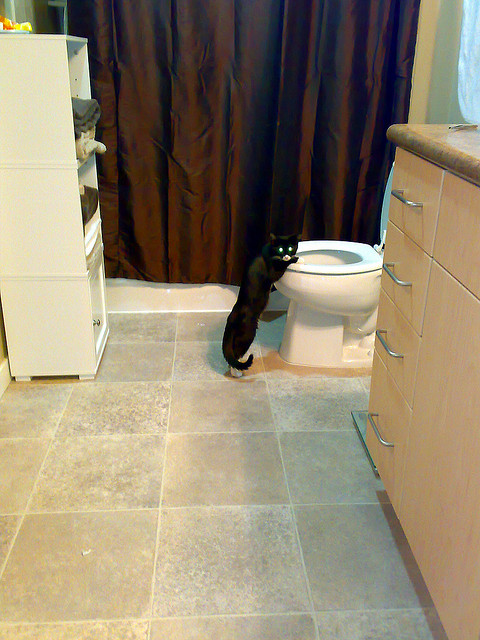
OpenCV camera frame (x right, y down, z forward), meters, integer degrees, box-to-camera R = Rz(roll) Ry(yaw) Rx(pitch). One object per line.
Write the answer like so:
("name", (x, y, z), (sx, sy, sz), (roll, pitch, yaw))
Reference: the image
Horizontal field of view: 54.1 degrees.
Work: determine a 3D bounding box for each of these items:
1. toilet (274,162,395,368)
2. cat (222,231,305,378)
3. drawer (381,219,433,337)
("toilet", (0.370, -0.283, 1.745), (0.403, 0.942, 0.412), (-4, 34, 0))
("cat", (0.074, -0.080, 1.705), (0.301, 0.454, 0.160), (-13, 27, -30))
("drawer", (0.311, -0.078, 0.872), (0.074, 0.138, 0.163), (2, 29, -5))
